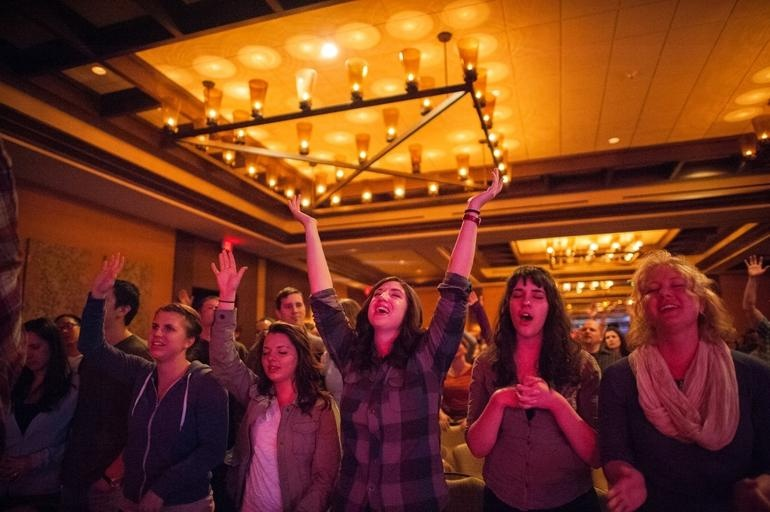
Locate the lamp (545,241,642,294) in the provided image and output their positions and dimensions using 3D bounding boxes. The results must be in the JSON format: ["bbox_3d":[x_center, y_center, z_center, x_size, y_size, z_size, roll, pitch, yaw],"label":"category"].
[{"bbox_3d":[4.265,-0.021,11.259,1.537,0.369,1.516,1,-30,8],"label":"lamp"}]

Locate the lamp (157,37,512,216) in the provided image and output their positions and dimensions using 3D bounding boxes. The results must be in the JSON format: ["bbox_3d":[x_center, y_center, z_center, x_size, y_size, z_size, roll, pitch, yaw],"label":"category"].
[{"bbox_3d":[-0.243,-1.296,4.877,2.121,0.479,2.030,1,-20,2],"label":"lamp"}]

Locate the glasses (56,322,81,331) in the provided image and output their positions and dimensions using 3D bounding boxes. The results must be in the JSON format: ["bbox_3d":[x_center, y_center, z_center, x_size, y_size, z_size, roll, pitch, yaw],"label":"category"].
[{"bbox_3d":[-2.928,0.650,5.060,0.160,0.073,0.085,11,-18,-26],"label":"glasses"}]
